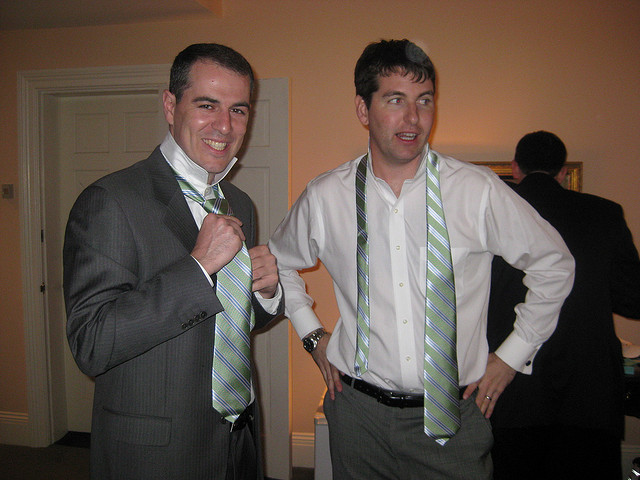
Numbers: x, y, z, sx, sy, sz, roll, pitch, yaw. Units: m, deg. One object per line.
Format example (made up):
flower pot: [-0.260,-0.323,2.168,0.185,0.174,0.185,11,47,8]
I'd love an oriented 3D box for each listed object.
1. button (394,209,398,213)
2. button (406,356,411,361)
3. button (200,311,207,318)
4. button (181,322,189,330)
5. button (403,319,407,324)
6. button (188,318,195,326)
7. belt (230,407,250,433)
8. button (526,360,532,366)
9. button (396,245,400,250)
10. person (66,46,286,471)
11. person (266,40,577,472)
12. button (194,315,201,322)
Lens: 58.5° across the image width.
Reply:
button: [0.324,-0.125,2.433,0.012,0.014,0.003,-3,-9,5]
button: [0.365,0.492,2.365,0.016,0.018,0.004,-3,-7,22]
button: [-0.429,0.276,2.116,0.016,0.025,0.007,-6,12,-5]
button: [-0.493,0.316,2.099,0.019,0.026,0.008,-7,9,-19]
button: [0.355,0.341,2.380,0.015,0.016,0.004,1,-5,9]
button: [-0.470,0.302,2.106,0.017,0.027,0.007,-19,10,-20]
belt: [-0.307,0.713,2.226,0.062,0.048,0.079,19,-17,-37]
button: [0.875,0.516,2.395,0.028,0.027,0.011,0,1,-32]
button: [0.331,0.032,2.414,0.013,0.015,0.008,0,-14,6]
person: [-0.534,0.079,2.246,0.839,1.722,0.361,0,0,-27]
person: [0.400,0.084,2.483,1.259,1.871,0.361,1,0,26]
button: [-0.450,0.291,2.110,0.021,0.017,0.007,-6,11,-19]
